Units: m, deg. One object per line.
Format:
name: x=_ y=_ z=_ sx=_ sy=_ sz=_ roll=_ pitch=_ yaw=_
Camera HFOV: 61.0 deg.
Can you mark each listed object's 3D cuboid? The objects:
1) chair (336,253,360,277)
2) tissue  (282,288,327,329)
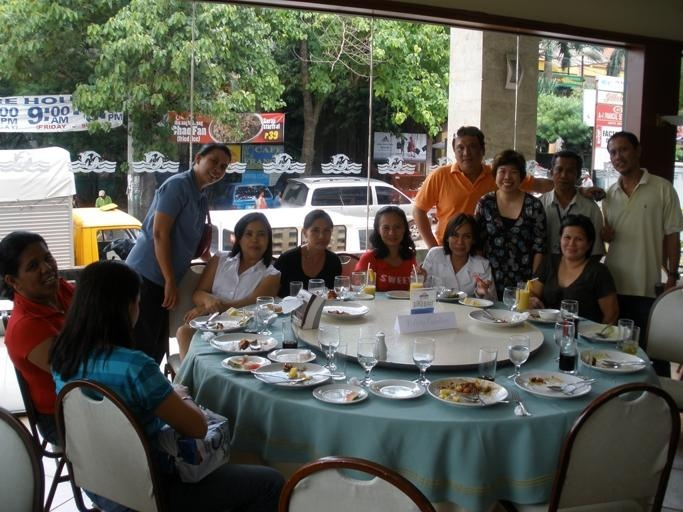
chair: x=0.059 y=0.065 z=4.484 sx=0.159 sy=0.209 sz=0.148 roll=0 pitch=8 yaw=-5
tissue : x=-0.193 y=0.236 z=3.120 sx=0.160 sy=0.268 sz=0.278 roll=8 pitch=6 yaw=-19
